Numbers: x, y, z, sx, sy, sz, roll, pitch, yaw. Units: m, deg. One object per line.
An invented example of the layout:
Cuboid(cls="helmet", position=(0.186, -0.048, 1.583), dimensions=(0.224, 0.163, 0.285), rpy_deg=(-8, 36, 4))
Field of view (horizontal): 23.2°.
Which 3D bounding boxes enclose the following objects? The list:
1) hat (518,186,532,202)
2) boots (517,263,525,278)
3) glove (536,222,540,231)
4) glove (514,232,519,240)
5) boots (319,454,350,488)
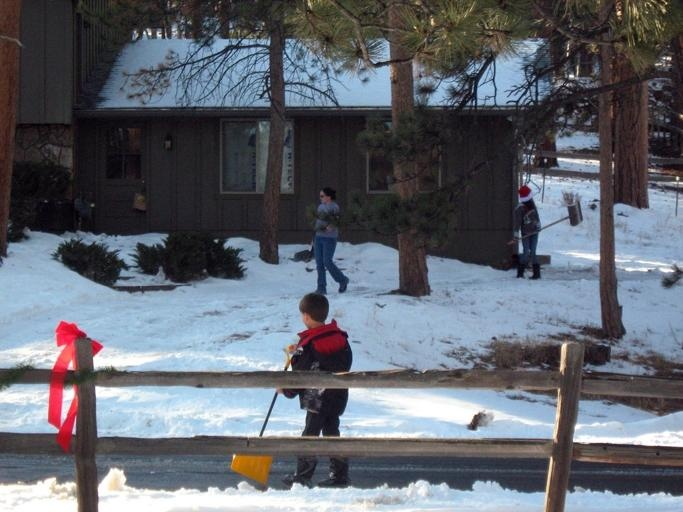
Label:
Cuboid(cls="hat", position=(4.092, -1.401, 37.217), dimensions=(0.284, 0.164, 0.302), rpy_deg=(-40, 29, -3))
Cuboid(cls="boots", position=(4.056, 0.279, 37.823), dimensions=(0.216, 0.333, 0.573), rpy_deg=(0, 5, 5))
Cuboid(cls="glove", position=(4.430, -0.657, 37.650), dimensions=(0.110, 0.161, 0.157), rpy_deg=(-1, 11, 4))
Cuboid(cls="glove", position=(4.108, -0.492, 39.331), dimensions=(0.128, 0.195, 0.261), rpy_deg=(5, 4, 8))
Cuboid(cls="boots", position=(-0.106, 3.724, 28.971), dimensions=(0.578, 0.675, 0.376), rpy_deg=(2, -2, 3))
